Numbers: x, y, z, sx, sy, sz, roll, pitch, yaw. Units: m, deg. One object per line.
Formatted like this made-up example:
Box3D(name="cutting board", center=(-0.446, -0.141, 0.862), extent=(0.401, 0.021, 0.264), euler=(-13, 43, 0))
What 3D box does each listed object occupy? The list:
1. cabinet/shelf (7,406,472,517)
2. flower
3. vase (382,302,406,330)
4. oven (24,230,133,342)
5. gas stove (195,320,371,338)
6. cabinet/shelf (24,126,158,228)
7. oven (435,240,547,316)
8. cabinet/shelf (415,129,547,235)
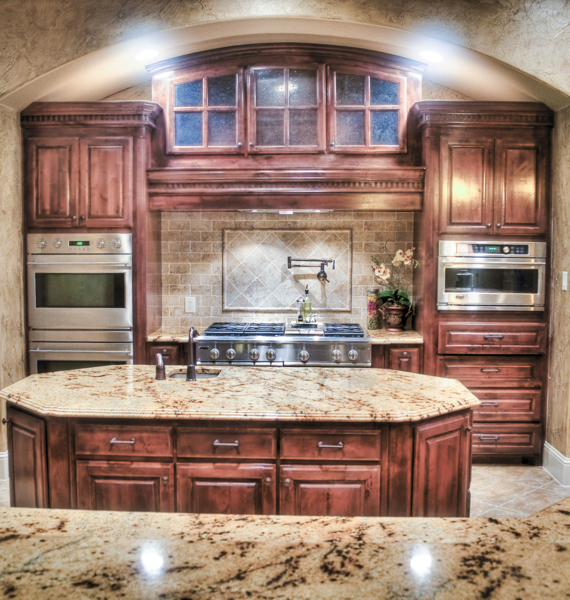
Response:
Box3D(name="cabinet/shelf", center=(-0.149, 0.729, 2.905), extent=(1.973, 0.457, 0.261), euler=(1, 11, 0))
Box3D(name="flower", center=(0.819, -0.120, 4.970), extent=(0.327, 0.535, 0.376), euler=(2, 10, 6))
Box3D(name="vase", center=(0.806, 0.122, 4.889), extent=(0.179, 0.211, 0.136), euler=(7, 12, 32))
Box3D(name="oven", center=(-1.209, -0.041, 4.863), extent=(1.144, 0.857, 0.682), euler=(0, -2, -3))
Box3D(name="gas stove", center=(0.010, 0.201, 4.752), extent=(1.112, 0.050, 0.551), euler=(1, 8, 3))
Box3D(name="cabinet/shelf", center=(-1.362, -0.847, 4.516), extent=(0.941, 0.641, 0.401), euler=(0, 0, -1))
Box3D(name="oven", center=(1.330, -0.161, 4.665), extent=(0.887, 0.453, 0.473), euler=(0, -1, -22))
Box3D(name="cabinet/shelf", center=(1.365, -0.801, 4.452), extent=(0.961, 0.667, 0.410), euler=(0, 0, 2))
